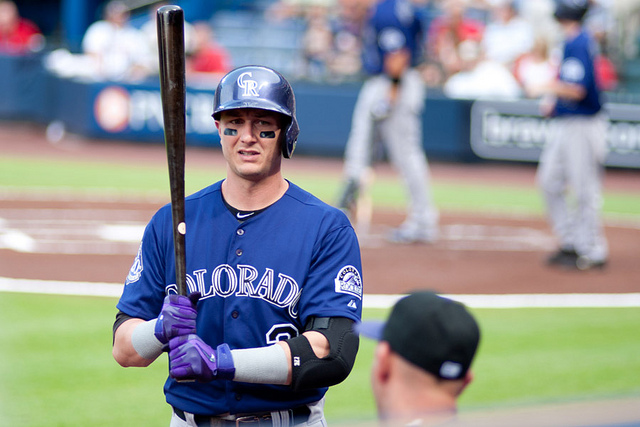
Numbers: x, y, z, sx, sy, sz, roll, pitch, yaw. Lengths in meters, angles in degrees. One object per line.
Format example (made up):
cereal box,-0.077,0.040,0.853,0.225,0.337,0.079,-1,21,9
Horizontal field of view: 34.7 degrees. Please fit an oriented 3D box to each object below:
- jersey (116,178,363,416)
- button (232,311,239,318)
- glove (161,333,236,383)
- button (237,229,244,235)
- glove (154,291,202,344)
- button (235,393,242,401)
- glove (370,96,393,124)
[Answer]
jersey,-0.591,0.741,9.927,2.669,2.171,1.185,2,11,29
button,-0.779,0.932,9.389,0.069,0.063,0.015,0,-2,-2
glove,-1.093,1.297,9.332,0.650,0.294,0.502,11,26,-30
button,-0.740,0.175,9.477,0.052,0.047,0.017,4,-4,4
glove,-1.282,0.934,9.238,0.369,0.461,0.200,10,-14,-14
button,-0.755,1.681,9.359,0.058,0.054,0.033,22,15,-10
glove,0.849,-1.452,14.372,0.277,0.399,0.227,10,14,42
